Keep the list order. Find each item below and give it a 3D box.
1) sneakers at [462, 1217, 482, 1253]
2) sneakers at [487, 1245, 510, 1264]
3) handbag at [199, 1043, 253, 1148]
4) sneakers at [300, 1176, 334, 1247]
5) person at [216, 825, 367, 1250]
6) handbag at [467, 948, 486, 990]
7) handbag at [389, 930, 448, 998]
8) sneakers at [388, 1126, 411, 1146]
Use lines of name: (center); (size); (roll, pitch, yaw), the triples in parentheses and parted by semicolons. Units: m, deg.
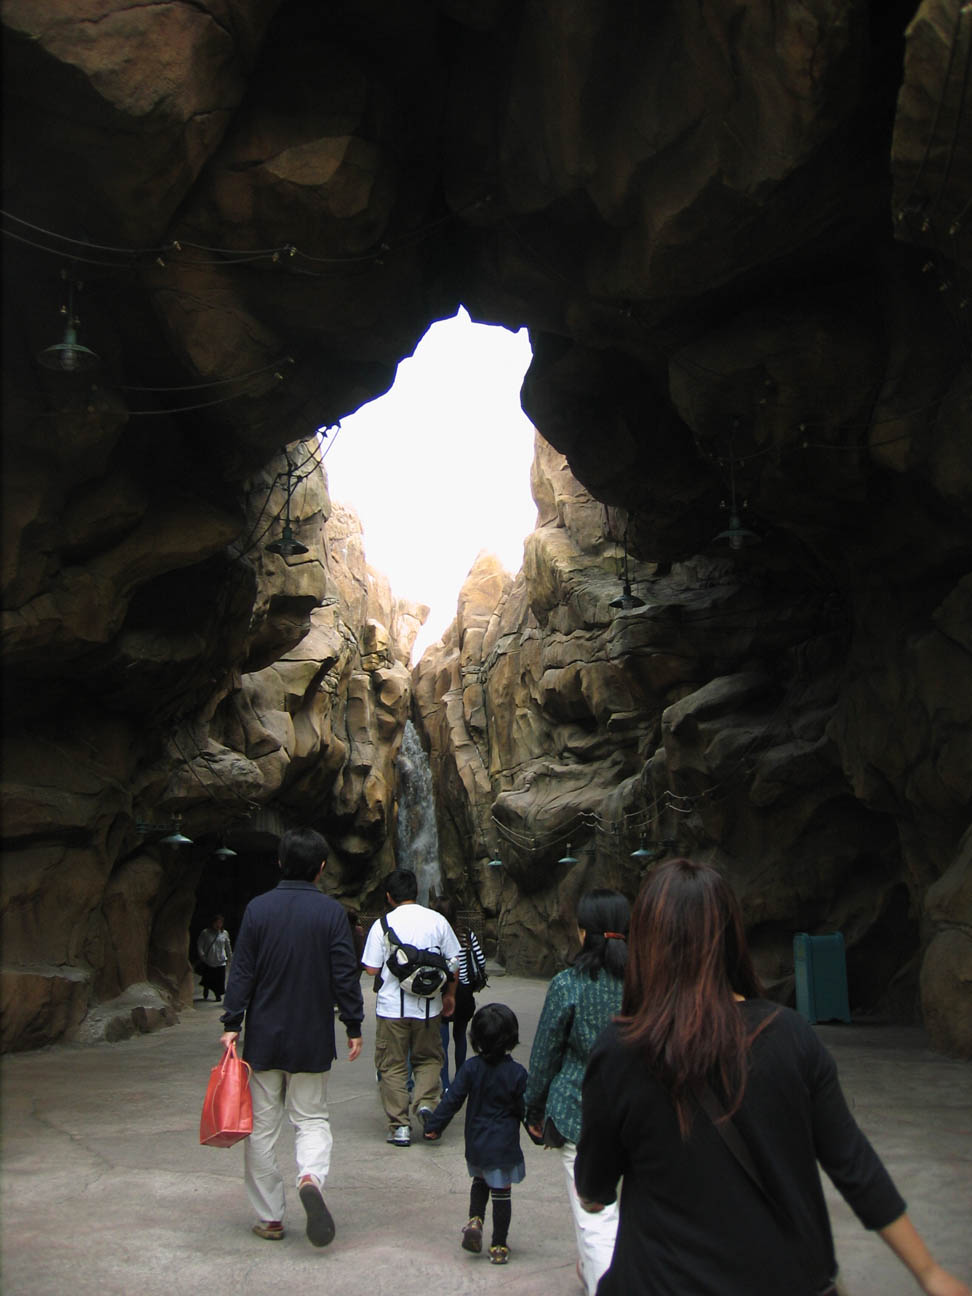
sneakers: (-0.052, 2.194, 4.263); (0.053, 0.071, 0.143); (3, -40, -3)
sneakers: (0.044, 2.248, 4.225); (0.081, 0.051, 0.156); (-1, -13, 1)
handbag: (-0.946, 1.641, 4.164); (0.176, 0.394, 0.447); (2, -13, -11)
sneakers: (-0.668, 2.077, 4.246); (0.098, 0.270, 0.106); (-23, -32, -4)
person: (-0.767, 1.528, 4.502); (0.536, 1.571, 0.638); (1, -12, -9)
handbag: (-0.069, 2.147, 7.635); (0.152, 0.263, 0.251); (1, -18, -5)
handbag: (-0.376, 1.733, 6.266); (0.351, 0.379, 0.275); (1, -12, -8)
sneakers: (-0.495, 2.824, 6.600); (0.069, 0.081, 0.182); (2, -12, -3)
